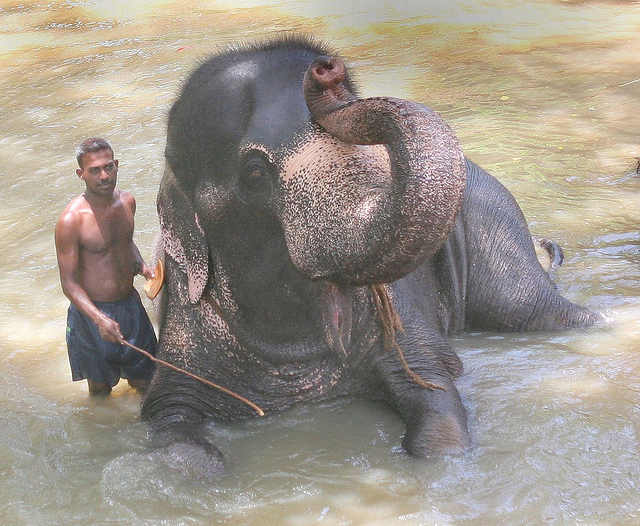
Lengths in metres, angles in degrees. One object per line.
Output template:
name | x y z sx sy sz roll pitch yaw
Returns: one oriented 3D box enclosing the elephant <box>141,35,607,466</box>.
elephant | -0.090 -0.164 4.179 2.068 0.990 1.808 -10 19 -6
